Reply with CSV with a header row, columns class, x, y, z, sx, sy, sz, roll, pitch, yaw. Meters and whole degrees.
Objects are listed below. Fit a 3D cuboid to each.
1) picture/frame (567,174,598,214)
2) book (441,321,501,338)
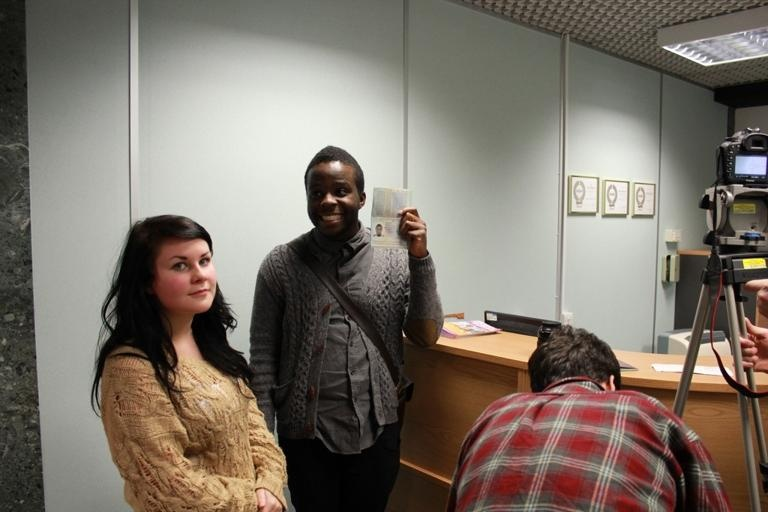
class,x,y,z,sx,sy,sz,roll,pitch,yaw
picture/frame,1.762,-0.554,4.845,0.371,0.280,0.025,-2,2,-43
book,0.481,0.432,3.257,0.153,0.030,0.166,9,10,44
